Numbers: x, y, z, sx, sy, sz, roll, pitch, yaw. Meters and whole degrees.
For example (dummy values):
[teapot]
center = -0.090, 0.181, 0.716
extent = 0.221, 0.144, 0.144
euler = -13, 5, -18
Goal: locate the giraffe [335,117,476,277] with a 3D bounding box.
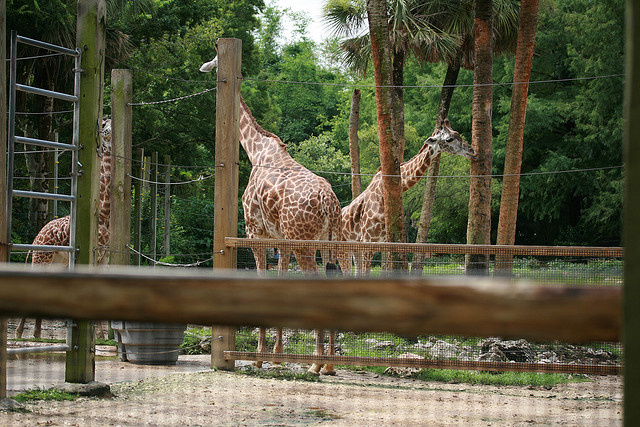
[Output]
[giraffe]
center = 1.660, -0.417, 33.821
extent = 2.403, 3.605, 4.727
euler = 8, 16, 23
